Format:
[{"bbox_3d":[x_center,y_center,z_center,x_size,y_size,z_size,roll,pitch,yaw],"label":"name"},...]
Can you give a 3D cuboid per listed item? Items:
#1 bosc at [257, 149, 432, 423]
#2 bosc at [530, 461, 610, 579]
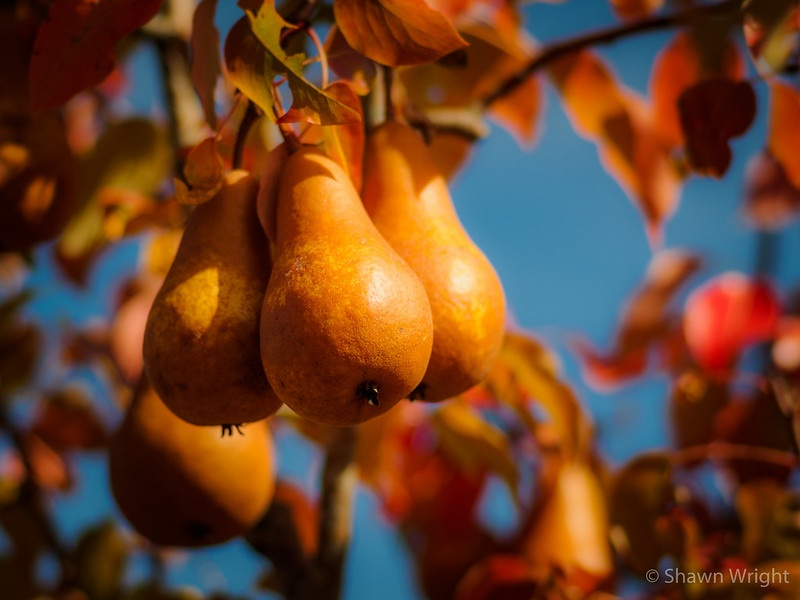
[{"bbox_3d":[-0.051,0.001,0.919,0.141,0.161,0.270,9,54,-23],"label":"bosc"},{"bbox_3d":[0.184,0.239,1.127,0.073,0.119,0.065,13,-11,13],"label":"bosc"}]
